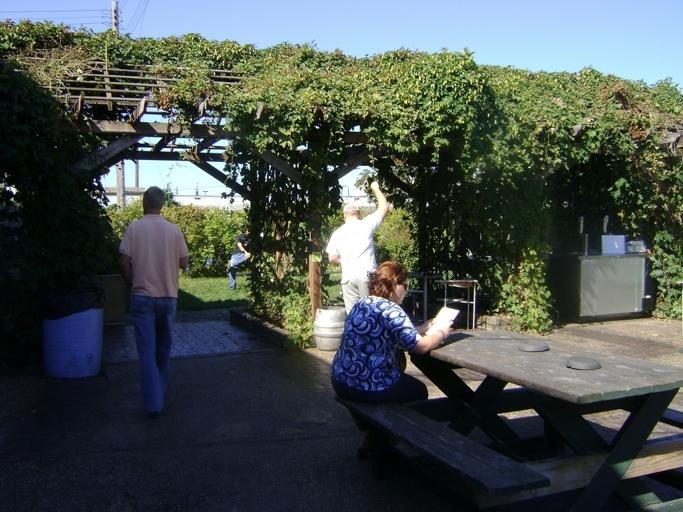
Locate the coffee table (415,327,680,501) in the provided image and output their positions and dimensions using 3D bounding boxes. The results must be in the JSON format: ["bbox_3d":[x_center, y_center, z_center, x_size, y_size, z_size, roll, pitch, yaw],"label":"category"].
[{"bbox_3d":[1.532,1.081,4.523,1.069,1.002,1.833,0,1,-23],"label":"coffee table"}]

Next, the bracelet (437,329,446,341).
[{"bbox_3d":[0.801,0.628,4.747,0.055,0.075,0.028,-5,22,-3],"label":"bracelet"}]

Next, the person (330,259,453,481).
[{"bbox_3d":[0.406,0.900,4.986,0.973,1.694,0.812,0,7,-22],"label":"person"}]

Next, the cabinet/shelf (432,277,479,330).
[{"bbox_3d":[2.218,0.864,10.777,0.797,1.086,0.837,0,-4,-7],"label":"cabinet/shelf"}]

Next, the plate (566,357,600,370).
[{"bbox_3d":[1.742,0.776,4.300,0.230,0.067,0.203,4,3,29],"label":"plate"}]

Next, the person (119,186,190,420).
[{"bbox_3d":[-1.951,0.597,6.160,0.659,2.055,0.366,1,3,-19],"label":"person"}]
